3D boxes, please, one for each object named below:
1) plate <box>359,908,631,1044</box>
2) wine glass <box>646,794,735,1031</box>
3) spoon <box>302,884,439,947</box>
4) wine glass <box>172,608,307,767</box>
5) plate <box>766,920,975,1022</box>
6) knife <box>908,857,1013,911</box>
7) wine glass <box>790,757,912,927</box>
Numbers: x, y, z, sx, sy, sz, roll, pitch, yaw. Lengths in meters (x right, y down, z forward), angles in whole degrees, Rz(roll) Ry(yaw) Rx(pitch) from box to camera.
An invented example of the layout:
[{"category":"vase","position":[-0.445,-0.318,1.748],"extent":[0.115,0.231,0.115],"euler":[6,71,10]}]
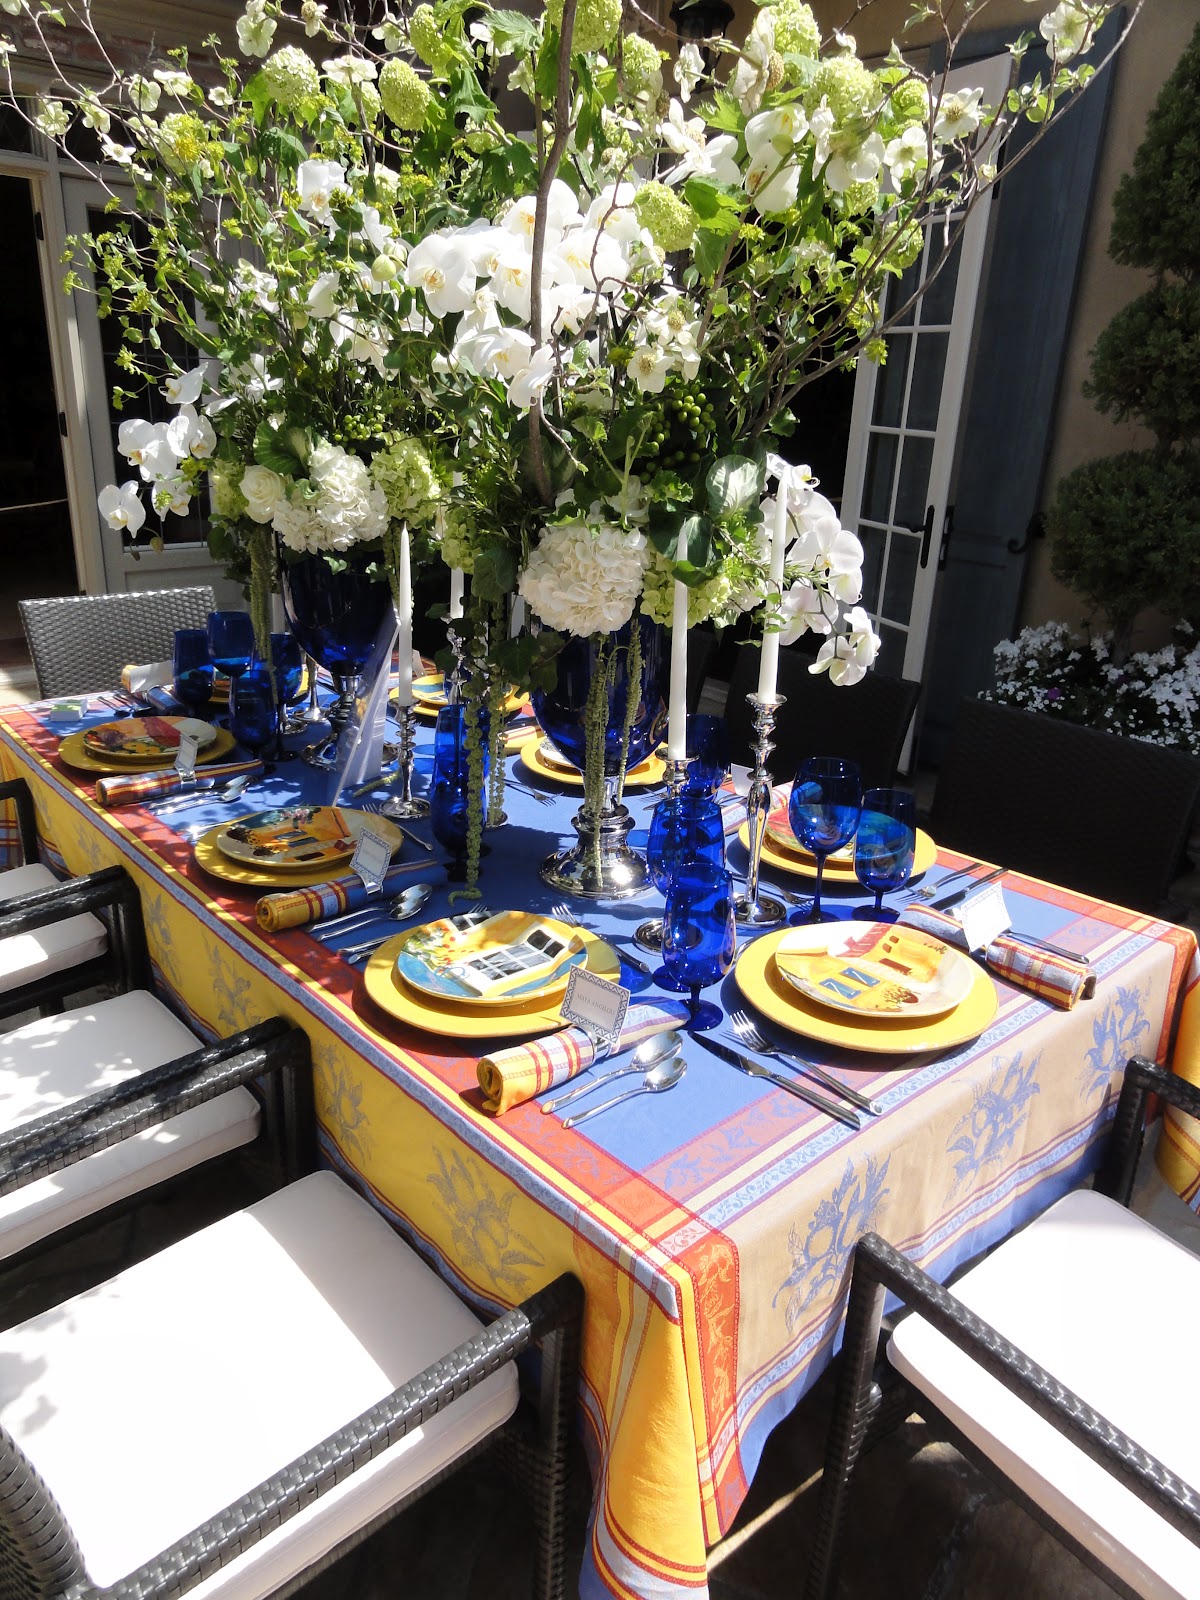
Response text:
[{"category":"plate","position":[-0.105,0.163,1.092],"extent":[0.138,0.015,0.136],"euler":[-11,25,-22]},{"category":"wine glass","position":[0.086,0.111,1.114],"extent":[0.075,0.209,0.089],"euler":[-10,27,-31]},{"category":"spoon","position":[-0.253,0.110,1.266],"extent":[0.047,0.024,0.166],"euler":[22,28,30]},{"category":"wine glass","position":[-0.546,-0.199,1.885],"extent":[0.198,0.290,0.214],"euler":[-15,26,-37]},{"category":"plate","position":[0.250,0.171,1.101],"extent":[0.238,0.022,0.231],"euler":[-9,17,6]},{"category":"knife","position":[0.449,0.096,1.412],"extent":[0.052,0.011,0.163],"euler":[21,21,30]},{"category":"wine glass","position":[0.286,0.058,1.313],"extent":[0.163,0.217,0.081],"euler":[9,24,16]}]
